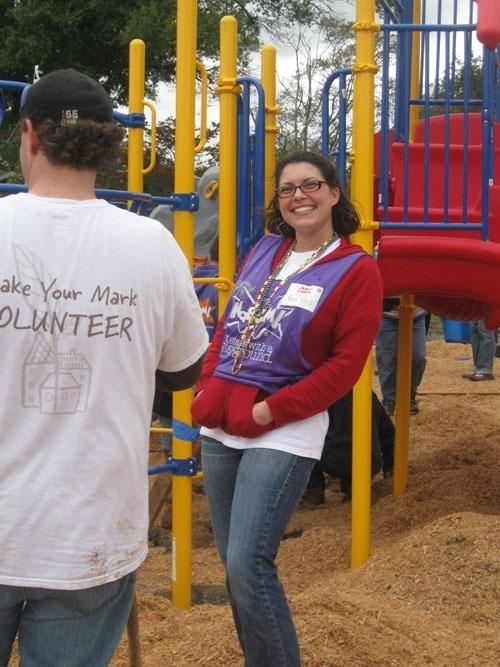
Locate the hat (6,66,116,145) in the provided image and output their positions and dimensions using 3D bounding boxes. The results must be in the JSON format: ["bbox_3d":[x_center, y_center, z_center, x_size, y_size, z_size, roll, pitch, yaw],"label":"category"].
[{"bbox_3d":[-0.350,-0.435,1.640,0.118,0.087,0.151,-7,36,-20],"label":"hat"}]

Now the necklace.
[{"bbox_3d":[0.083,-0.102,2.394,0.162,0.519,0.026,32,-31,-15],"label":"necklace"}]

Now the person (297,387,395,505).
[{"bbox_3d":[0.568,0.597,5.064,0.505,0.787,0.459,5,-2,34],"label":"person"}]
